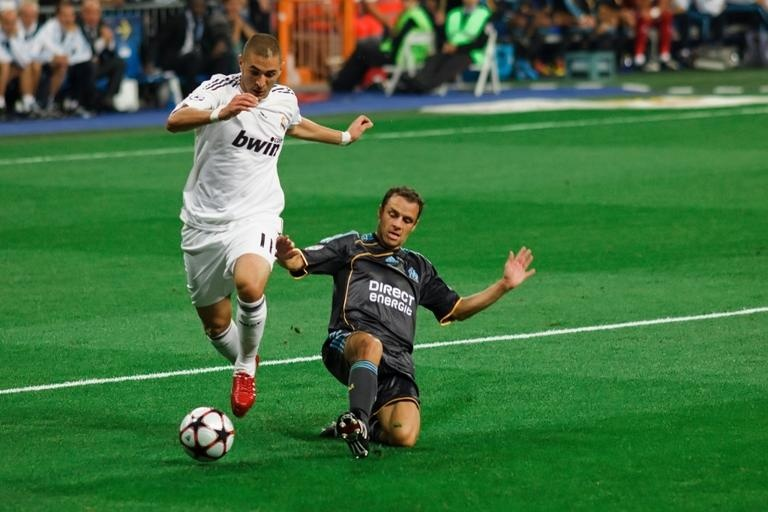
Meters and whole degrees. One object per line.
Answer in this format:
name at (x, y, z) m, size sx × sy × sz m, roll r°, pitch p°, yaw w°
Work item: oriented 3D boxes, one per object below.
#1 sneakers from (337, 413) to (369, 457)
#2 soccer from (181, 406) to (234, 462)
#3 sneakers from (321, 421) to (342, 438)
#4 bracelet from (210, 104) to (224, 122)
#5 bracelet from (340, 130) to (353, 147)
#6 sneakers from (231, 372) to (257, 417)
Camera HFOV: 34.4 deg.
sneakers at (-0.230, 1.388, 9.794) m, size 0.170 × 0.407 × 0.194 m, roll -8°, pitch 37°, yaw 7°
soccer at (-1.414, 1.392, 9.896) m, size 0.429 × 0.394 × 0.394 m, roll 1°, pitch -21°, yaw -10°
sneakers at (-0.432, 1.396, 10.085) m, size 0.138 × 0.090 × 0.179 m, roll -1°, pitch -3°, yaw 10°
bracelet at (-1.377, -1.171, 10.161) m, size 0.134 × 0.121 × 0.129 m, roll 4°, pitch 7°, yaw -28°
bracelet at (-0.337, -1.069, 11.117) m, size 0.115 × 0.104 × 0.110 m, roll -2°, pitch -2°, yaw -16°
sneakers at (-1.169, 1.135, 10.321) m, size 0.211 × 0.373 × 0.222 m, roll -4°, pitch 7°, yaw -15°
